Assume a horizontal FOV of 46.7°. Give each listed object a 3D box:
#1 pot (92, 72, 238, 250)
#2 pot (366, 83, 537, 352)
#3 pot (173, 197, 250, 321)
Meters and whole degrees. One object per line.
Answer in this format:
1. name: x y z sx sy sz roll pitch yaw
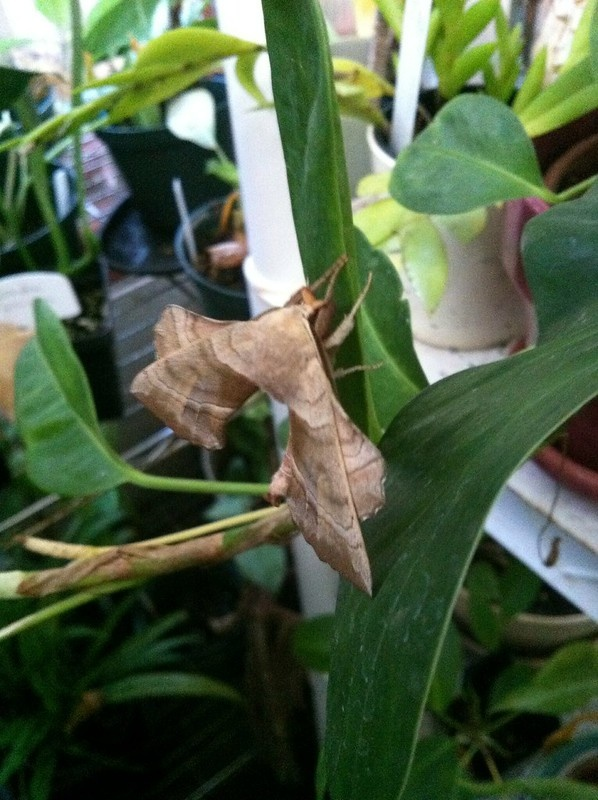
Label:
1. pot: -0.093 -0.184 0.540 0.085 0.093 0.087 -5 59 8
2. pot: 0.078 -0.089 0.397 0.102 0.122 0.115 -6 54 17
3. pot: -0.070 -0.112 0.619 0.086 0.075 0.095 0 63 0
